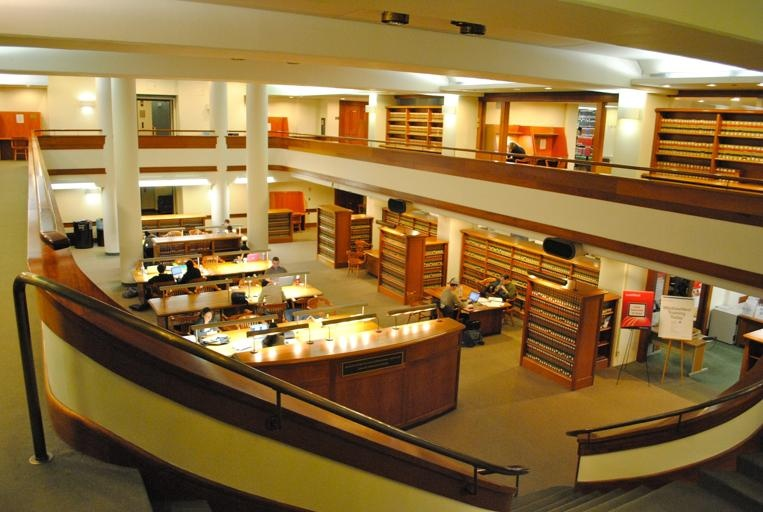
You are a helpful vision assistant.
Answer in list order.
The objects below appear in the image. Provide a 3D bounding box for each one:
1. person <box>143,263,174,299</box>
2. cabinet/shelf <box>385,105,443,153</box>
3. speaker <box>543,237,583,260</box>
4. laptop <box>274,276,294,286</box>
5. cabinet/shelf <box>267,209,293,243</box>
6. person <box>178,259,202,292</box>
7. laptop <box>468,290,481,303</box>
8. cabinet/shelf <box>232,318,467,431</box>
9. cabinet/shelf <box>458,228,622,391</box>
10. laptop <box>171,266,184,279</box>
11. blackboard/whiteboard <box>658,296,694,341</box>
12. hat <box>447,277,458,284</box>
[{"bbox_3d":[-5.462,0.644,13.130,0.611,0.890,0.654,-11,40,-31],"label":"person"},{"bbox_3d":[1.120,-4.048,17.137,0.507,1.637,2.816,-7,13,-35],"label":"cabinet/shelf"},{"bbox_3d":[3.200,-0.205,9.244,0.433,0.240,0.571,-9,16,-30],"label":"speaker"},{"bbox_3d":[-2.380,0.587,13.055,0.414,0.252,0.275,-6,39,-30],"label":"laptop"},{"bbox_3d":[-3.982,-1.168,21.738,1.504,1.247,1.206,-3,17,-20],"label":"cabinet/shelf"},{"bbox_3d":[-4.682,0.500,13.068,0.596,0.732,0.590,-8,34,-26],"label":"person"},{"bbox_3d":[2.218,0.981,12.741,0.277,0.237,0.233,19,-9,20],"label":"laptop"},{"bbox_3d":[-0.072,1.807,8.734,3.720,1.613,0.641,14,-3,-32],"label":"cabinet/shelf"},{"bbox_3d":[3.488,1.265,11.486,1.810,1.477,3.261,-7,17,-29],"label":"cabinet/shelf"},{"bbox_3d":[-5.196,0.415,13.690,0.404,0.242,0.485,1,4,-6],"label":"laptop"},{"bbox_3d":[5.705,1.182,10.364,0.662,0.568,0.280,12,-5,17],"label":"blackboard/whiteboard"},{"bbox_3d":[1.897,0.651,14.224,0.295,0.086,0.292,2,7,32],"label":"hat"}]
